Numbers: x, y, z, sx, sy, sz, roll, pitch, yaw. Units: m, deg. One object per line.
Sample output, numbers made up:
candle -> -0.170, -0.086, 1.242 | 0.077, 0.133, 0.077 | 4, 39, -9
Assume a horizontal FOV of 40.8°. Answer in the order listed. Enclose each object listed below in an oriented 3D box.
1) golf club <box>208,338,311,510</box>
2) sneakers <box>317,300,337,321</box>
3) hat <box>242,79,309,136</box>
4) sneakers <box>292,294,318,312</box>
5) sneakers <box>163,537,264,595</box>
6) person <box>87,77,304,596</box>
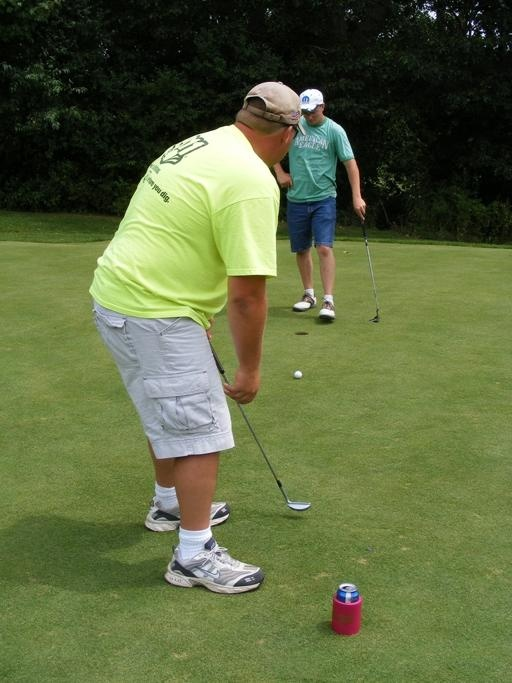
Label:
golf club -> 0.032, 0.399, 3.039 | 0.187, 0.997, 0.041 | -13, 38, 26
sneakers -> 0.609, -0.248, 5.801 | 0.140, 0.185, 0.247 | 0, 11, 7
hat -> 0.079, -0.742, 2.136 | 0.185, 0.091, 0.126 | 14, 45, 27
sneakers -> 0.468, -0.341, 6.446 | 0.117, 0.116, 0.282 | 2, 11, 22
sneakers -> -0.114, 0.719, 2.199 | 0.336, 0.136, 0.117 | 3, -4, 6
person -> -0.194, -0.014, 2.141 | 0.672, 1.552, 0.386 | -1, 11, 3
